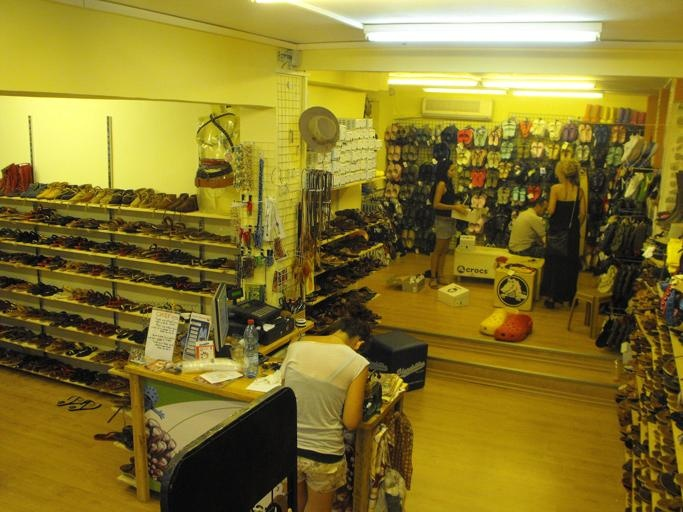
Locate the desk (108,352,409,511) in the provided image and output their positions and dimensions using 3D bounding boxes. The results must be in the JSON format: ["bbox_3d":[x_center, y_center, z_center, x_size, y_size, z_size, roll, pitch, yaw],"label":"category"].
[{"bbox_3d":[-0.531,1.246,3.875,1.773,1.030,0.815,6,12,25],"label":"desk"}]

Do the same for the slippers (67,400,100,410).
[{"bbox_3d":[-3.185,1.832,6.607,0.376,0.034,0.225,-1,11,-5],"label":"slippers"}]

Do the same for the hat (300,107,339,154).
[{"bbox_3d":[-0.260,-1.502,6.380,0.295,0.535,0.464,10,16,39],"label":"hat"}]

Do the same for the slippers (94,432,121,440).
[{"bbox_3d":[-2.567,1.969,5.869,0.226,0.061,0.162,0,-1,23],"label":"slippers"}]

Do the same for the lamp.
[{"bbox_3d":[1.283,-2.074,5.002,2.116,0.191,0.317,2,12,11],"label":"lamp"}]
